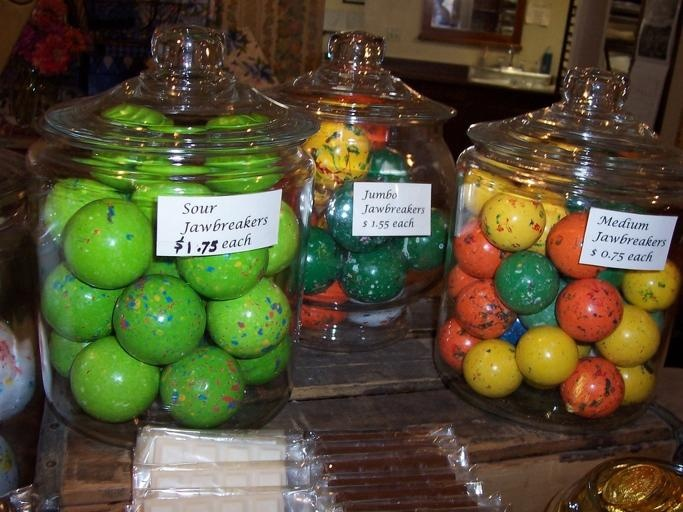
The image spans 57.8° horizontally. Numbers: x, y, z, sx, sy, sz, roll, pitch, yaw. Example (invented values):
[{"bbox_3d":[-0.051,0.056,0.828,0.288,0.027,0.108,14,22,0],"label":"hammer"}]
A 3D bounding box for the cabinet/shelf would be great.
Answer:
[{"bbox_3d":[0.846,-1.063,4.369,1.149,0.410,1.214,2,16,-7],"label":"cabinet/shelf"}]
